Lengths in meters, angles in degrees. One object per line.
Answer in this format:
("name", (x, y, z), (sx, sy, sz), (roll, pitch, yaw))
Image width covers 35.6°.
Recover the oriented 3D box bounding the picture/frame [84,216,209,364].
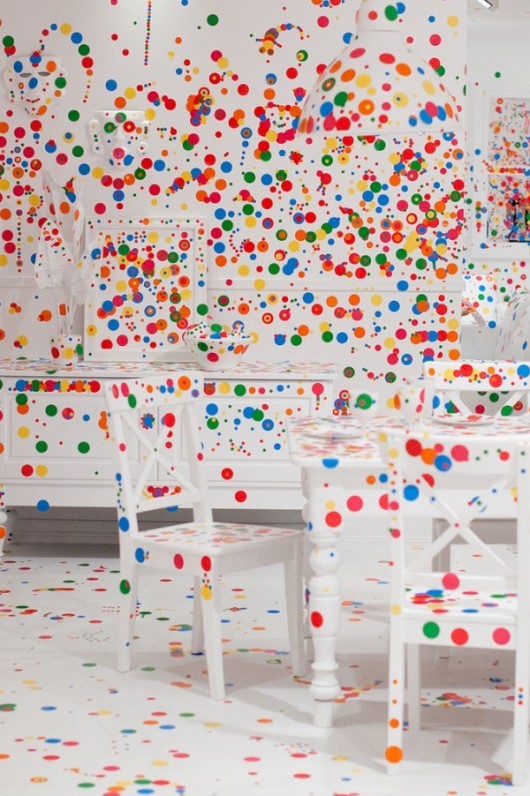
("picture/frame", (-0.559, -0.484, 3.878), (0.890, 0.809, 0.044), (-1, -1, 0))
